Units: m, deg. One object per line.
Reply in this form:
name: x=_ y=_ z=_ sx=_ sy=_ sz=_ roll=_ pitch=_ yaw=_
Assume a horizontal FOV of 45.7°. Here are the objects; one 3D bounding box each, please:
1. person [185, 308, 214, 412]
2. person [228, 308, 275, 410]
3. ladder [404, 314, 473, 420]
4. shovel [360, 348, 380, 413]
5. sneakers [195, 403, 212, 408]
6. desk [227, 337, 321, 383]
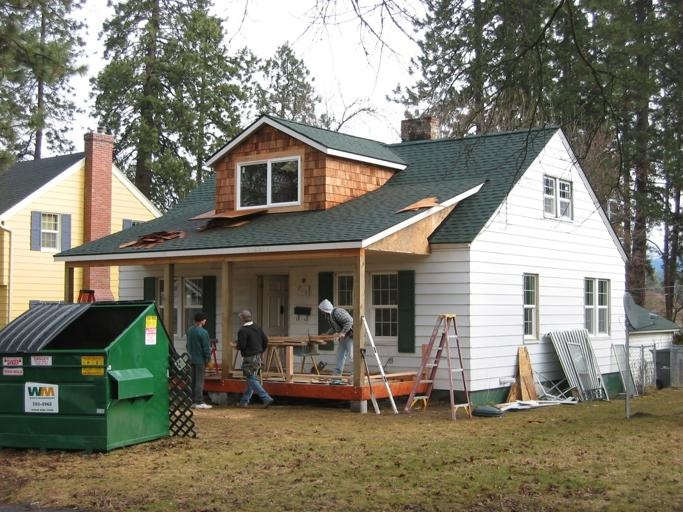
person: x=-3.281 y=2.439 z=18.582 sx=0.540 sy=2.157 sz=1.139 roll=0 pitch=2 yaw=-11
person: x=-2.061 y=2.407 z=18.613 sx=0.835 sy=2.324 sz=1.323 roll=0 pitch=2 yaw=-8
ladder: x=2.320 y=2.428 z=18.758 sx=1.440 sy=2.327 sz=2.263 roll=1 pitch=2 yaw=9
shovel: x=0.658 y=2.917 z=18.605 sx=0.249 sy=1.567 sz=0.181 roll=-13 pitch=-1 yaw=-38
sneakers: x=-3.195 y=3.447 z=18.616 sx=0.331 sy=0.155 sz=0.133 roll=-1 pitch=-5 yaw=2
desk: x=-1.619 y=2.504 z=19.571 sx=1.301 sy=0.679 sz=1.308 roll=-1 pitch=-1 yaw=-28
